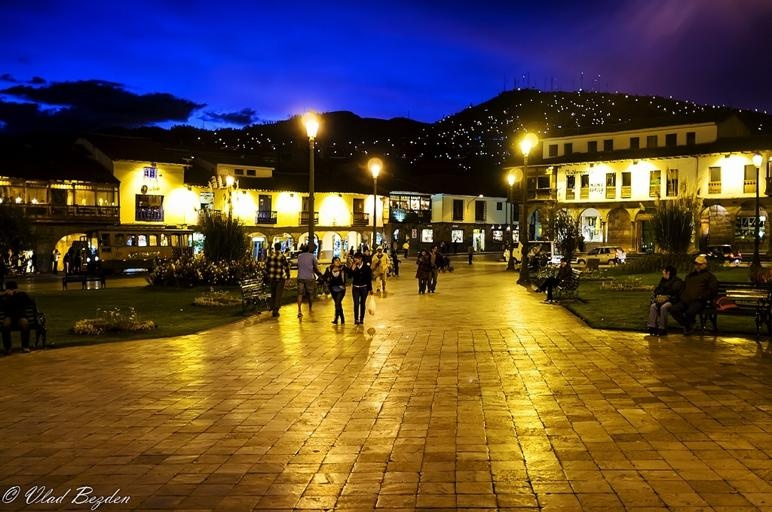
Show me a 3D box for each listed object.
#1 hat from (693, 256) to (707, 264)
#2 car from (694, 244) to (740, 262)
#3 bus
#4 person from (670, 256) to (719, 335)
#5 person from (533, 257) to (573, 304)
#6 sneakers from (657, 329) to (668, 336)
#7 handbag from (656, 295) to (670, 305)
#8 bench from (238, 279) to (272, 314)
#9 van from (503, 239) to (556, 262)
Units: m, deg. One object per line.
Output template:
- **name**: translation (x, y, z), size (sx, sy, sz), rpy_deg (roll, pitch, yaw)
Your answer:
- **hat**: translation (7.569, 0.046, 15.089), size (0.335, 0.269, 0.244), rpy_deg (12, -10, -43)
- **car**: translation (19.625, -0.187, 37.025), size (1.750, 0.854, 1.140), rpy_deg (2, 1, 17)
- **bus**: translation (-17.611, -0.553, 45.370), size (6.157, 3.314, 4.292), rpy_deg (-1, 2, -24)
- **person**: translation (7.450, 0.918, 15.114), size (1.023, 1.832, 0.521), rpy_deg (0, 2, 13)
- **person**: translation (6.492, 0.839, 23.592), size (1.099, 1.532, 3.070), rpy_deg (0, 2, 16)
- **sneakers**: translation (6.669, 1.835, 15.097), size (0.151, 0.151, 0.284), rpy_deg (2, -1, 32)
- **handbag**: translation (6.712, 1.064, 15.192), size (0.206, 0.206, 0.203), rpy_deg (1, -8, 1)
- **bench**: translation (-4.447, 1.168, 19.756), size (0.600, 0.741, 1.796), rpy_deg (12, 6, 32)
- **van**: translation (11.766, -0.252, 48.980), size (3.210, 1.571, 2.096), rpy_deg (3, 2, 22)
